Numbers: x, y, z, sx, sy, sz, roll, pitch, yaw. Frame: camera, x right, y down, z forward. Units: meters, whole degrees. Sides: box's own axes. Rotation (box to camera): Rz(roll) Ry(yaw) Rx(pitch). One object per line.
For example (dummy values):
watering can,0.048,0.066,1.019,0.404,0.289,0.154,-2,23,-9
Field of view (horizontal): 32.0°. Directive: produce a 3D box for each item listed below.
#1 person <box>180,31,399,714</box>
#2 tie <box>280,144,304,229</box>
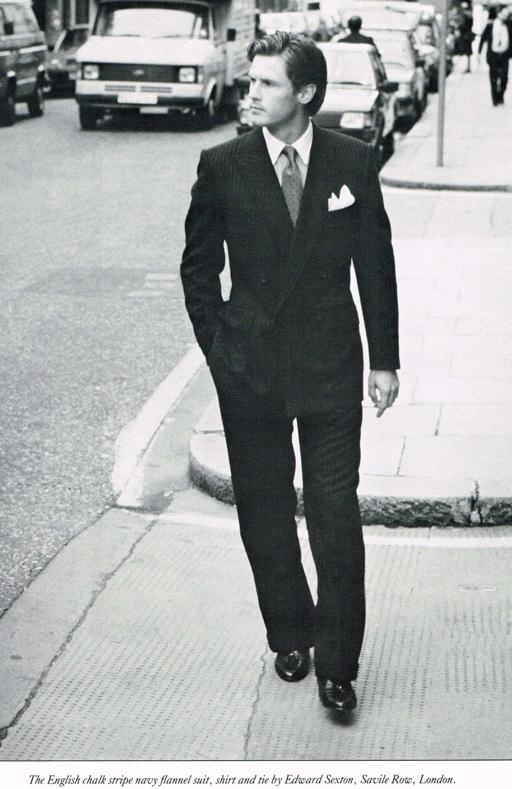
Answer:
person,0.090,-0.024,2.084,0.513,1.554,0.288,-2,8,-5
tie,0.076,-0.455,1.941,0.049,0.169,0.054,-1,8,2
